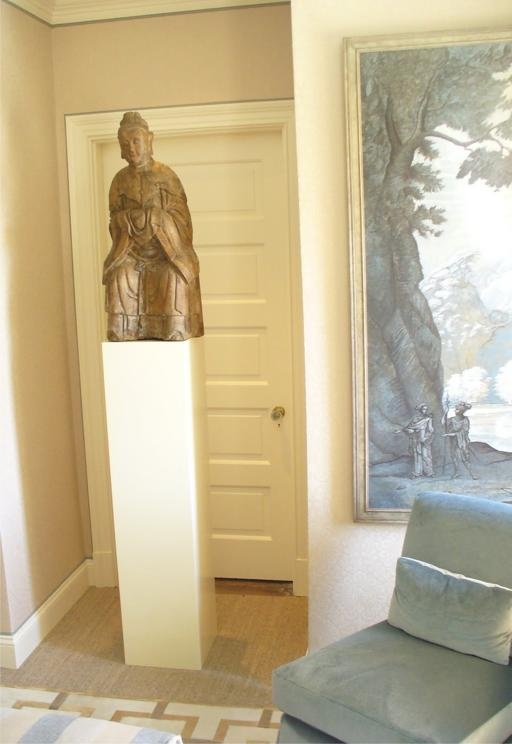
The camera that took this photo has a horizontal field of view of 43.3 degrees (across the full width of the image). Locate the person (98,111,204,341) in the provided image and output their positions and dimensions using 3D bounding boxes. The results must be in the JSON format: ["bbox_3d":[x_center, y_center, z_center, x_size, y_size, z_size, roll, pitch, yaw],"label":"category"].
[{"bbox_3d":[-0.376,-0.492,2.261,0.335,0.763,0.185,-4,7,-13],"label":"person"}]
